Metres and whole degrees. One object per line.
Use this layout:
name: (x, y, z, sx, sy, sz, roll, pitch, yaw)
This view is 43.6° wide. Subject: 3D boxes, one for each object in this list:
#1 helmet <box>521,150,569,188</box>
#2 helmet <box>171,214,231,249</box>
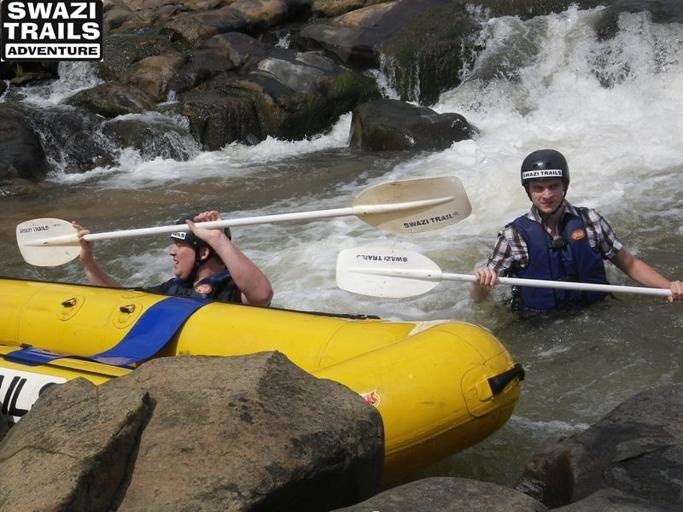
helmet: (1.783, -0.742, 7.436, 0.419, 0.329, 0.499, -2, 10, 22)
helmet: (-1.237, -0.239, 7.411, 0.438, 0.293, 0.300, 13, 6, 5)
